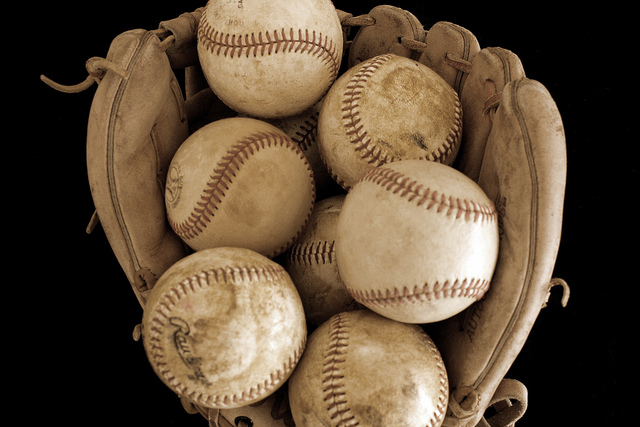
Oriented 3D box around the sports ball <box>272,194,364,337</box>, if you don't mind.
[{"bbox_3d":[-0.020,0.268,4.352,0.299,0.624,0.606,-1,40,-9],"label":"sports ball"}]
